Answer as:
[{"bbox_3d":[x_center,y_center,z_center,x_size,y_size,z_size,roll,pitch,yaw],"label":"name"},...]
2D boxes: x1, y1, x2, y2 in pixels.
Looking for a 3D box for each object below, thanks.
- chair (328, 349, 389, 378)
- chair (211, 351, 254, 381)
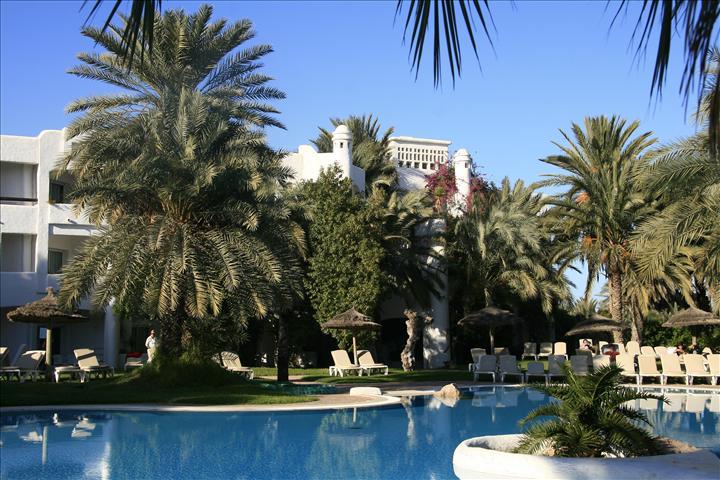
[{"bbox_3d":[-0.125,5.636,29.965,3.007,1.180,1.545,2,-4,-43],"label":"chair"},{"bbox_3d":[-5.512,5.214,27.449,1.209,1.399,1.650,12,-16,-44],"label":"chair"}]
